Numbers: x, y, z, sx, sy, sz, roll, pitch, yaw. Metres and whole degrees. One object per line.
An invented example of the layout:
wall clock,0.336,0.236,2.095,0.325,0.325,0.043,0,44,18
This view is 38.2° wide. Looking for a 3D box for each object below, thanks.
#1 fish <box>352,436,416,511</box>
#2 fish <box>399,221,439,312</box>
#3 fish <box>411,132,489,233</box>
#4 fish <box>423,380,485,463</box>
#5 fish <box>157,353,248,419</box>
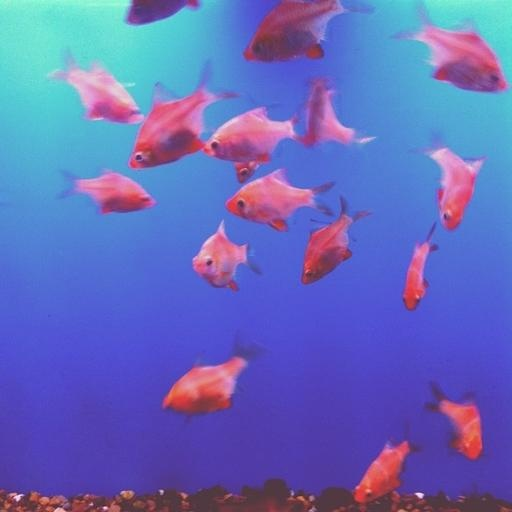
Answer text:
fish,0.594,1.016,3.392,0.070,0.165,0.328,18,54,39
fish,0.733,0.038,3.360,0.069,0.151,0.388,12,84,20
fish,0.865,-0.319,3.209,0.289,0.135,0.654,-2,54,17
fish,0.939,0.758,3.432,0.108,0.265,0.391,11,24,-34
fish,-0.221,0.638,3.398,0.403,0.230,0.183,-10,44,-18
